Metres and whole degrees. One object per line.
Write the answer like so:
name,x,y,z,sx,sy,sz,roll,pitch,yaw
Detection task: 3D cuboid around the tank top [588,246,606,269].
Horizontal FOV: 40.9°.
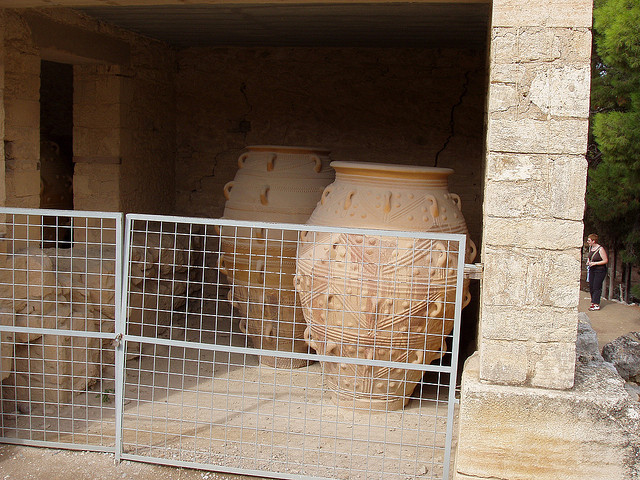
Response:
tank top,2.996,0.174,9.424,0.183,0.299,0.223,-2,10,1

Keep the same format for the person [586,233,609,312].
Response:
person,3.056,0.358,9.614,0.240,0.832,0.812,6,0,18
